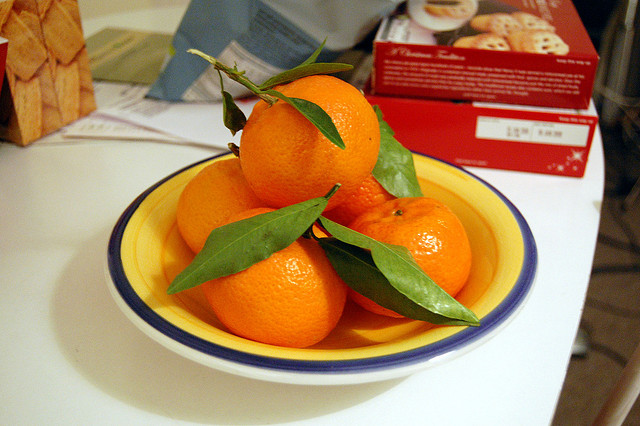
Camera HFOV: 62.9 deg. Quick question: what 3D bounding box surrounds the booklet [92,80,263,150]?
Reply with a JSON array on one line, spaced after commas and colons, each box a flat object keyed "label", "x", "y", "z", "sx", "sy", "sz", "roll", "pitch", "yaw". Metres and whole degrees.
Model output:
[{"label": "booklet", "x": -0.295, "y": -0.141, "z": 1.000, "sx": 0.265, "sy": 0.023, "sz": 0.172, "roll": 15, "pitch": 19, "yaw": 12}]

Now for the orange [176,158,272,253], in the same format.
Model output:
[{"label": "orange", "x": -0.115, "y": -0.009, "z": 0.706, "sx": 0.114, "sy": 0.104, "sz": 0.130, "roll": -23, "pitch": 40, "yaw": -39}]

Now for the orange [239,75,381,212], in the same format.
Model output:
[{"label": "orange", "x": -0.013, "y": -0.081, "z": 0.604, "sx": 0.158, "sy": 0.103, "sz": 0.145, "roll": 1, "pitch": 69, "yaw": -3}]

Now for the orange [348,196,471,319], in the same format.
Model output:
[{"label": "orange", "x": 0.118, "y": 0.030, "z": 0.663, "sx": 0.132, "sy": 0.133, "sz": 0.139, "roll": -2, "pitch": 23, "yaw": 10}]

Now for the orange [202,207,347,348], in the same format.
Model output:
[{"label": "orange", "x": -0.046, "y": 0.098, "z": 0.578, "sx": 0.150, "sy": 0.066, "sz": 0.108, "roll": -22, "pitch": 72, "yaw": -11}]

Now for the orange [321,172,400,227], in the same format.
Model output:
[{"label": "orange", "x": 0.060, "y": -0.017, "z": 0.707, "sx": 0.073, "sy": 0.086, "sz": 0.077, "roll": -1, "pitch": 78, "yaw": -42}]
